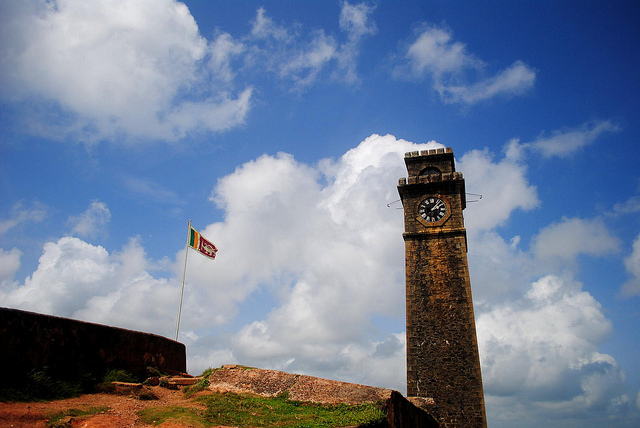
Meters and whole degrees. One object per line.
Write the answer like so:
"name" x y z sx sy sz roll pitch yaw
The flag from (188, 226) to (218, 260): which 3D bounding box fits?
"flag" -7.115 1.747 32.812 0.276 1.755 2.369 -24 -54 15
